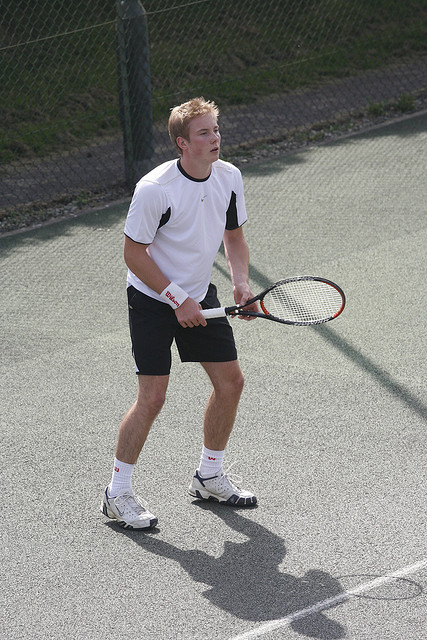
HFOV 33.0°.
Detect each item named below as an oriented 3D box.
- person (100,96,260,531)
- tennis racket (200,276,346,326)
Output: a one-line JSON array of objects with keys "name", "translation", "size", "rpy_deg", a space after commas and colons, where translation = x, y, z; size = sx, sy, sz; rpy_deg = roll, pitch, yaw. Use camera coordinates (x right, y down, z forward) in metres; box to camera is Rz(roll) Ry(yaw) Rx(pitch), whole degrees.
[{"name": "person", "translation": [-0.103, -0.011, 3.131], "size": [0.712, 1.830, 0.473], "rpy_deg": [3, 9, -22]}, {"name": "tennis racket", "translation": [0.180, -0.059, 3.314], "size": [0.918, 0.227, 0.061], "rpy_deg": [-4, 17, 39]}]
